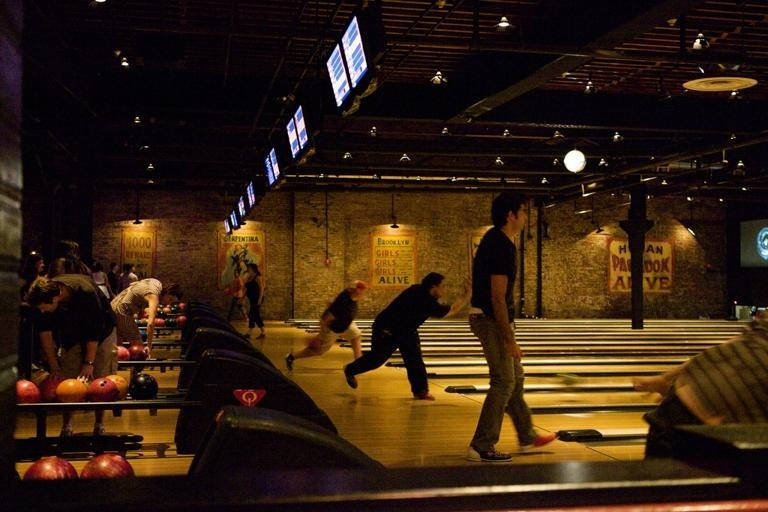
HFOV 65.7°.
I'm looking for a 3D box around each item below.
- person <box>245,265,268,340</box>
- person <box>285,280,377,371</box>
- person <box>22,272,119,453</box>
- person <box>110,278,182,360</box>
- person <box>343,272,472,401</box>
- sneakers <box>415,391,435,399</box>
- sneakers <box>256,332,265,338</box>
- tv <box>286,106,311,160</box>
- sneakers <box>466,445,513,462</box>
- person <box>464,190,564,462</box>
[{"bbox_3d":[-2.697,0.918,12.255,0.580,1.474,0.535,1,-10,-28],"label":"person"},{"bbox_3d":[-0.601,0.863,7.473,1.085,1.322,0.542,3,22,-20],"label":"person"},{"bbox_3d":[-2.436,0.776,4.665,0.582,1.279,0.959,2,-2,-24],"label":"person"},{"bbox_3d":[-3.036,0.853,7.673,0.926,0.520,1.225,6,-35,-31],"label":"person"},{"bbox_3d":[0.244,0.851,6.243,1.235,1.329,0.423,0,-2,37],"label":"person"},{"bbox_3d":[0.433,1.474,6.335,0.253,0.095,0.082,-3,1,10],"label":"sneakers"},{"bbox_3d":[-2.521,1.614,12.156,0.114,0.124,0.338,-1,-2,-41],"label":"sneakers"},{"bbox_3d":[-1.037,-1.518,7.288,0.084,0.540,0.819,0,-10,-19],"label":"tv"},{"bbox_3d":[0.696,1.311,3.991,0.330,0.122,0.109,0,-3,-7],"label":"sneakers"},{"bbox_3d":[0.804,0.459,4.059,0.480,1.837,0.541,0,-2,32],"label":"person"}]
